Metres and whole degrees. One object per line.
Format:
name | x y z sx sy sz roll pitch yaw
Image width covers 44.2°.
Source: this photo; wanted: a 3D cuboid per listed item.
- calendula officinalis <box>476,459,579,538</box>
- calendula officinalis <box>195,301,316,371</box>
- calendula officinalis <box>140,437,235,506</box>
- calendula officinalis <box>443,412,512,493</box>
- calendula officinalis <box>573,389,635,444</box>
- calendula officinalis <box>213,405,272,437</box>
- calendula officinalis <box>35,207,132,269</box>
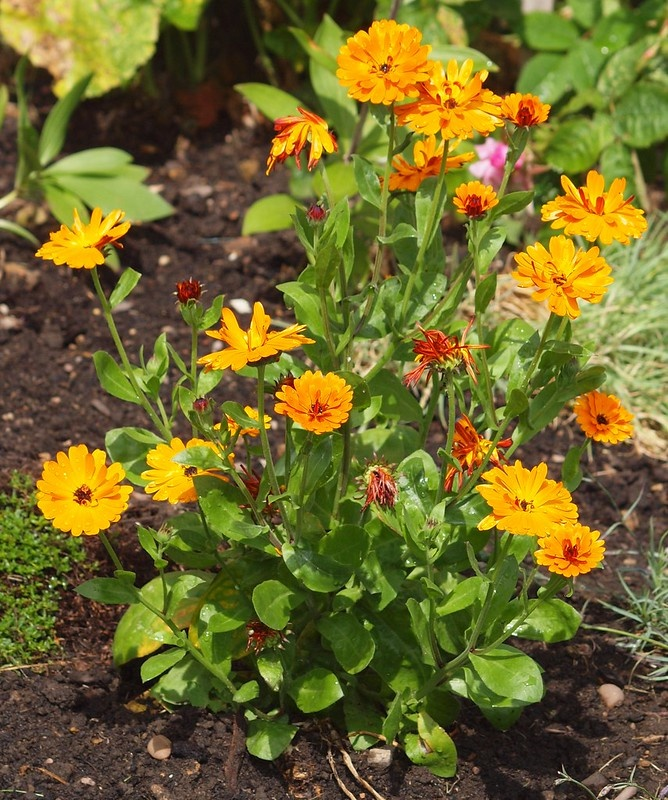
calendula officinalis | 0.282 0.134 1.210 0.145 0.060 0.123 3 38 -2
calendula officinalis | -0.118 -0.079 1.283 0.176 0.076 0.157 7 26 19
calendula officinalis | -0.257 0.129 1.480 0.145 0.041 0.148 -17 15 -34
calendula officinalis | 0.258 0.098 1.484 0.128 0.117 0.116 18 82 35
calendula officinalis | 0.450 0.025 1.398 0.116 0.034 0.093 5 72 -7
calendula officinalis | -0.155 0.042 1.487 0.083 0.029 0.083 -24 26 -27
calendula officinalis | -0.433 -0.284 1.438 0.110 0.119 0.036 -2 81 -44
